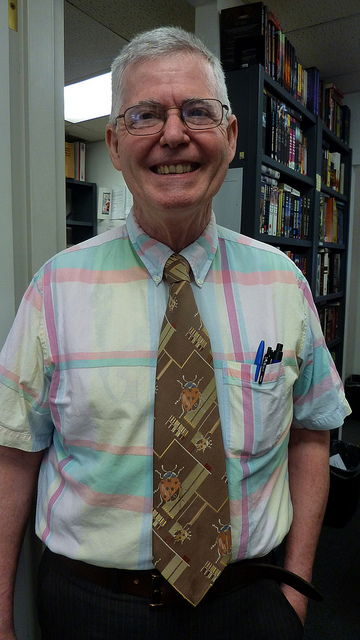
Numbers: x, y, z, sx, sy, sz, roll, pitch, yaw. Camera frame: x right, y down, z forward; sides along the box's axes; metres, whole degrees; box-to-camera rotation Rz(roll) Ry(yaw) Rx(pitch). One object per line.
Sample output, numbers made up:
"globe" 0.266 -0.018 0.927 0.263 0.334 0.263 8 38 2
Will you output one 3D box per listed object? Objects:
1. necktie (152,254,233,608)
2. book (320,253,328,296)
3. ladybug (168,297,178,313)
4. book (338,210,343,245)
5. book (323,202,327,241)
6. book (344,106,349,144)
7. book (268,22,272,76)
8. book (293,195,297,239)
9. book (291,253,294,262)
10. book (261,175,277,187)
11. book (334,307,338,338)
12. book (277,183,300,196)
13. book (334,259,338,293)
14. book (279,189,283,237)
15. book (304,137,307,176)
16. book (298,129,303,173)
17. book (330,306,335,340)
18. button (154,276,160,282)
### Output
"necktie" -0.003 0.165 0.895 0.132 0.562 0.196 -2 5 -19
"book" 0.924 -0.299 3.314 0.029 0.257 0.214 2 5 22
"ladybug" -0.012 -0.027 0.911 0.016 0.030 0.006 25 8 33
"book" 1.138 -0.674 3.670 0.014 0.233 0.129 2 5 26
"book" 0.917 -0.628 3.269 0.013 0.243 0.123 2 5 21
"book" 1.131 -1.328 3.513 0.024 0.203 0.116 1 5 14
"book" 0.364 -1.109 2.089 0.008 0.203 0.057 1 5 17
"book" 0.587 -0.531 2.634 0.016 0.201 0.072 1 5 17
"book" 0.609 -0.351 2.798 0.014 0.035 0.084 1 5 14
"book" 0.375 -0.598 2.199 0.055 0.057 0.013 -7 28 -35
"book" 1.109 0.010 3.670 0.019 0.208 0.104 1 5 17
"book" 0.535 -0.648 2.537 0.071 0.022 0.110 4 0 37
"book" 1.080 -0.316 3.581 0.013 0.220 0.126 2 5 22
"book" 0.473 -0.508 2.420 0.014 0.207 0.048 0 5 9
"book" 0.666 -0.875 2.734 0.011 0.192 0.074 1 5 16
"book" 0.609 -0.854 2.619 0.017 0.199 0.101 1 5 14
"book" 1.053 0.016 3.571 0.018 0.218 0.163 1 5 20
"button" -0.041 -0.078 0.959 0.008 0.009 0.002 -1 -18 2
